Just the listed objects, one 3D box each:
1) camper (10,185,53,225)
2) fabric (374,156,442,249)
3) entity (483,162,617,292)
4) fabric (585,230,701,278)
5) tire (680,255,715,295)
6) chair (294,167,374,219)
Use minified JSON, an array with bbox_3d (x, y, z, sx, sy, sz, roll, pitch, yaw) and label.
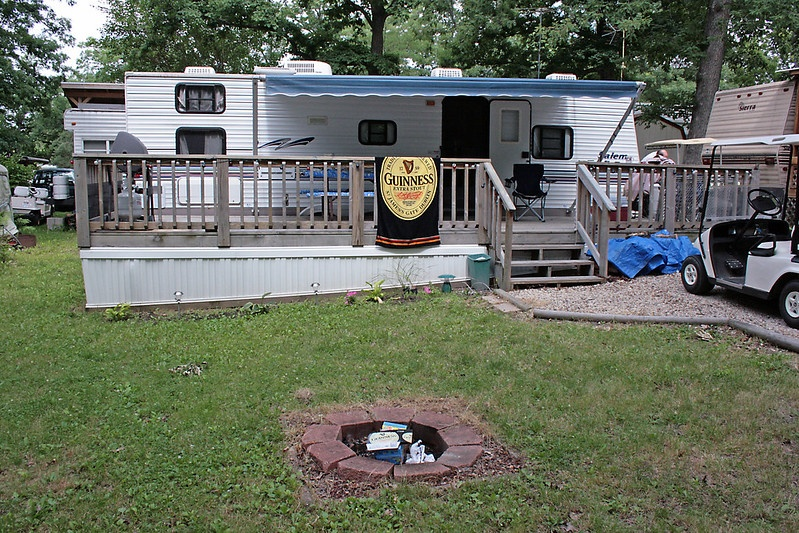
[{"bbox_3d":[-12.805,-2.165,21.792,0.901,1.167,1.994,4,9,-6],"label":"camper"},{"bbox_3d":[0.106,-1.119,10.626,1.535,1.909,0.062,0,8,-9],"label":"fabric"},{"bbox_3d":[2.919,-0.716,11.127,1.938,2.843,2.331,0,-1,-3],"label":"entity"},{"bbox_3d":[4.560,-0.338,11.423,1.640,0.473,1.349,0,23,25],"label":"fabric"},{"bbox_3d":[4.662,0.124,9.679,0.202,0.542,0.531,-3,-8,-11],"label":"tire"},{"bbox_3d":[-1.303,-1.366,12.084,1.098,0.667,1.057,-4,3,8],"label":"chair"}]
